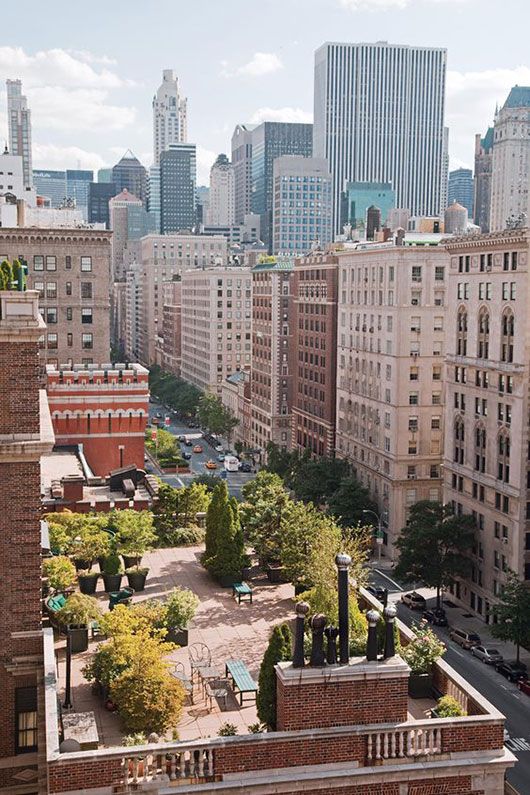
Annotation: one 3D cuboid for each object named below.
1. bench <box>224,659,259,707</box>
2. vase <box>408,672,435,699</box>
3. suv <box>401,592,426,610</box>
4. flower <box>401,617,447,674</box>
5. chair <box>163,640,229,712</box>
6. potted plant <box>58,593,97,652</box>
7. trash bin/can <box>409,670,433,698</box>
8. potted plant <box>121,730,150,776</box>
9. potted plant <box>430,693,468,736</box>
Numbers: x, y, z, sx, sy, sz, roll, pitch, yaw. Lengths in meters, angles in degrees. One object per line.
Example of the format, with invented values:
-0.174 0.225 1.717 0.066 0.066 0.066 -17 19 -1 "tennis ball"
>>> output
-0.798 9.130 34.300 0.785 0.910 2.686 0 6 -6 "bench"
4.597 8.521 31.938 0.709 0.827 0.744 1 -2 0 "vase"
11.869 16.180 86.217 0.864 0.812 1.842 3 6 -13 "suv"
4.575 7.501 32.167 1.201 2.145 0.821 -4 -4 -17 "flower"
-2.122 9.089 35.247 2.071 2.160 1.967 1 -6 -19 "chair"
-6.162 7.452 36.512 1.236 2.536 1.323 -2 -2 -24 "potted plant"
4.598 8.508 31.807 0.713 0.842 0.753 1 0 4 "trash bin/can"
-2.921 8.812 26.163 0.808 1.310 0.843 1 18 -5 "potted plant"
4.844 8.424 28.779 0.830 0.580 0.843 0 -2 -4 "potted plant"
